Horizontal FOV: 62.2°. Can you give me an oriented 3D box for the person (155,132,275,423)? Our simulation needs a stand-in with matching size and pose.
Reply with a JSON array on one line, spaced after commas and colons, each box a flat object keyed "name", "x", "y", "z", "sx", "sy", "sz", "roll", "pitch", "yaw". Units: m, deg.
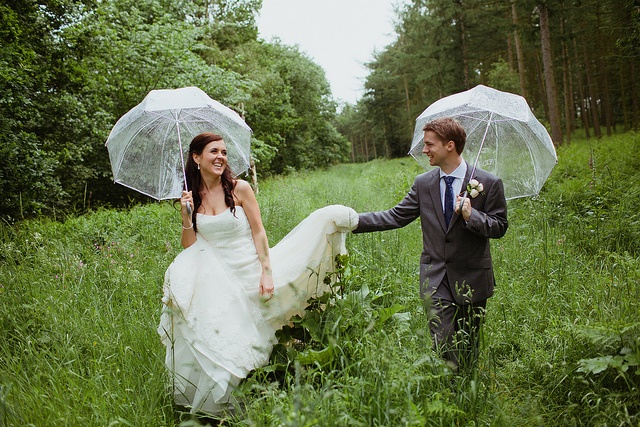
[{"name": "person", "x": -1.470, "y": 0.820, "z": 7.705, "sx": 1.457, "sy": 3.973, "sz": 0.970, "roll": -3, "pitch": 6, "yaw": -9}]
